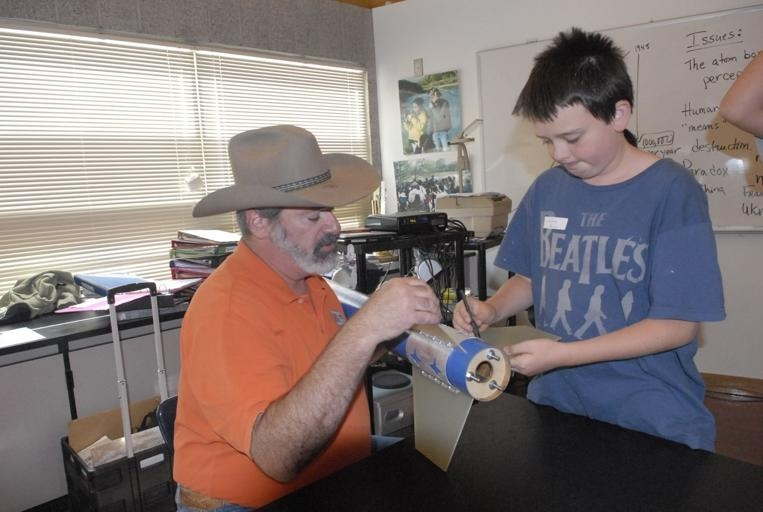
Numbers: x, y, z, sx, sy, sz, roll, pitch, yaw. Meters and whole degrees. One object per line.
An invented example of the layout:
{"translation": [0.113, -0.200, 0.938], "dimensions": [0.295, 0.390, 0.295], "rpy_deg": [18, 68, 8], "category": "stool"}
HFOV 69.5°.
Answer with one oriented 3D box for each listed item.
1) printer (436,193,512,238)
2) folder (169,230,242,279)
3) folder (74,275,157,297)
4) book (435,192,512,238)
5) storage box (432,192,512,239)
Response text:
{"translation": [0.698, -0.324, 4.126], "dimensions": [0.485, 0.330, 0.565], "rpy_deg": [1, 9, 35], "category": "printer"}
{"translation": [-1.229, -0.015, 3.834], "dimensions": [0.444, 0.217, 0.453], "rpy_deg": [6, 17, 25], "category": "folder"}
{"translation": [-1.683, 0.158, 3.417], "dimensions": [0.302, 0.068, 0.291], "rpy_deg": [6, 6, 28], "category": "folder"}
{"translation": [0.686, -0.295, 4.010], "dimensions": [0.365, 0.280, 0.434], "rpy_deg": [0, 4, 29], "category": "book"}
{"translation": [0.696, -0.321, 4.132], "dimensions": [0.516, 0.335, 0.580], "rpy_deg": [-1, 7, 18], "category": "storage box"}
